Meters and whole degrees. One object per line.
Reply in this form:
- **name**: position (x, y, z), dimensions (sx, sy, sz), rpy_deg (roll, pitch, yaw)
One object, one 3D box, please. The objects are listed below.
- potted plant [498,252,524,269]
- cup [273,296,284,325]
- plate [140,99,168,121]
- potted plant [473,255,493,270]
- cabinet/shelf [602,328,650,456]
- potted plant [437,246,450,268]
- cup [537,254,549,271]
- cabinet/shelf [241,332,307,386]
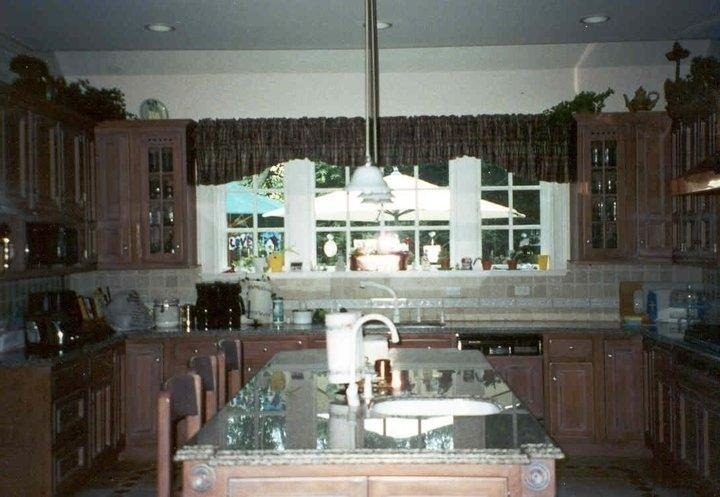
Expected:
- **potted plant**: position (1.585, 0.138, 8.004), dimensions (0.228, 0.165, 0.159), rpy_deg (-11, -14, 38)
- **cup**: position (-0.830, 0.621, 7.734), dimensions (0.127, 0.252, 0.267), rpy_deg (-1, 6, -5)
- **plate**: position (-2.079, -1.399, 7.650), dimensions (0.270, 0.192, 0.099), rpy_deg (-2, 6, -12)
- **potted plant**: position (1.284, 0.150, 7.953), dimensions (0.138, 0.114, 0.147), rpy_deg (3, -6, -20)
- **cabinet/shelf**: position (2.462, 1.287, 7.099), dimensions (0.352, 0.941, 0.152), rpy_deg (-1, 6, -6)
- **potted plant**: position (0.901, 0.100, 8.091), dimensions (0.157, 0.266, 0.180), rpy_deg (-2, -10, 17)
- **cup**: position (1.903, 0.146, 7.888), dimensions (0.108, 0.144, 0.182), rpy_deg (2, 7, 23)
- **cabinet/shelf**: position (-0.779, 0.945, 7.140), dimensions (0.703, 0.747, 0.372), rpy_deg (-1, -6, -3)
